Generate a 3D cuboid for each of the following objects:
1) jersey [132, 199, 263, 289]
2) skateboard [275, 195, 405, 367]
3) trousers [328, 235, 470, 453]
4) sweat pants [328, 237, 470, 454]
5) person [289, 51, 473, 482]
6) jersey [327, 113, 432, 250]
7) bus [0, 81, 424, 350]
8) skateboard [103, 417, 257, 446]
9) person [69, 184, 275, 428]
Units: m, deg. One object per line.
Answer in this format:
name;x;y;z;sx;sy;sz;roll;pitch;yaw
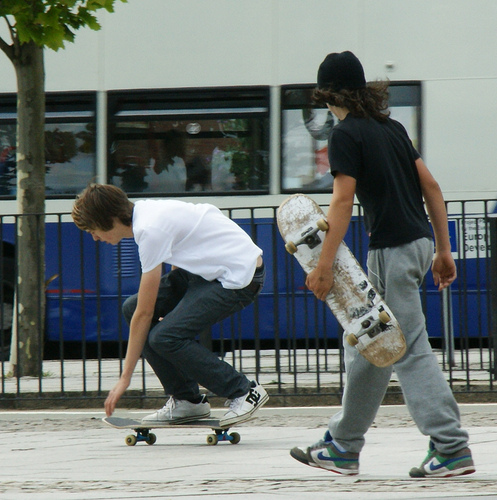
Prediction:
jersey;-0.416;-0.014;9.801;0.962;0.691;0.742;5;17;3
skateboard;0.537;0.208;8.976;0.392;0.215;1.469;-9;44;-19
trousers;0.878;0.552;8.870;0.830;1.299;0.310;-1;-2;7
sweat pants;0.894;0.568;8.959;0.968;1.365;0.405;-3;-13;31
person;0.810;0.071;8.957;0.967;2.605;0.506;-1;-2;2
jersey;0.760;-0.471;9.029;0.602;0.836;0.614;2;12;1
bus;-1.221;-0.565;12.952;5.270;2.426;1.712;0;-1;11
skateboard;-0.484;1.167;9.800;1.170;0.210;0.323;0;1;6
person;-0.497;0.393;9.954;1.190;1.656;1.309;-1;-2;-1
